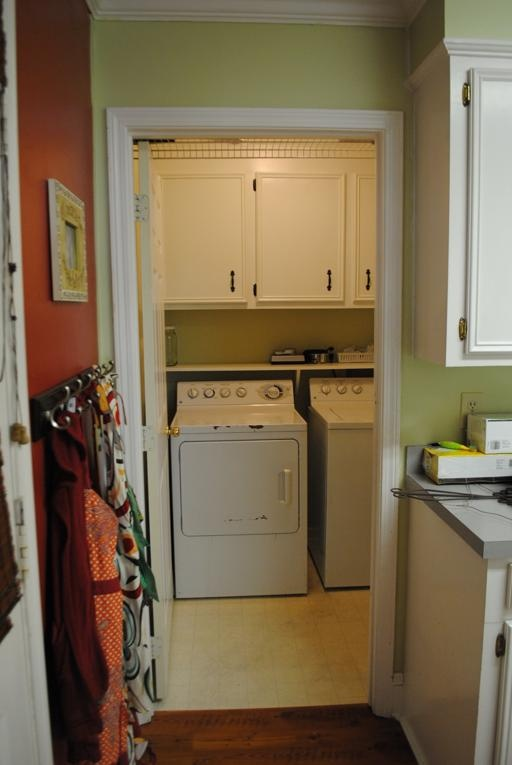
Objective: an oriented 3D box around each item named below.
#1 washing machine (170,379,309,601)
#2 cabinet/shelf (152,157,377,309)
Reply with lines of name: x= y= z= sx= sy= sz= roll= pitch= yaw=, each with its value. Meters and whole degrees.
washing machine: x=-0.077 y=0.458 z=3.124 sx=0.779 sy=1.463 sz=0.831 roll=0 pitch=1 yaw=-2
cabinet/shelf: x=0.013 y=-0.660 z=2.975 sx=0.998 sy=0.770 sz=0.327 roll=-1 pitch=-4 yaw=2
